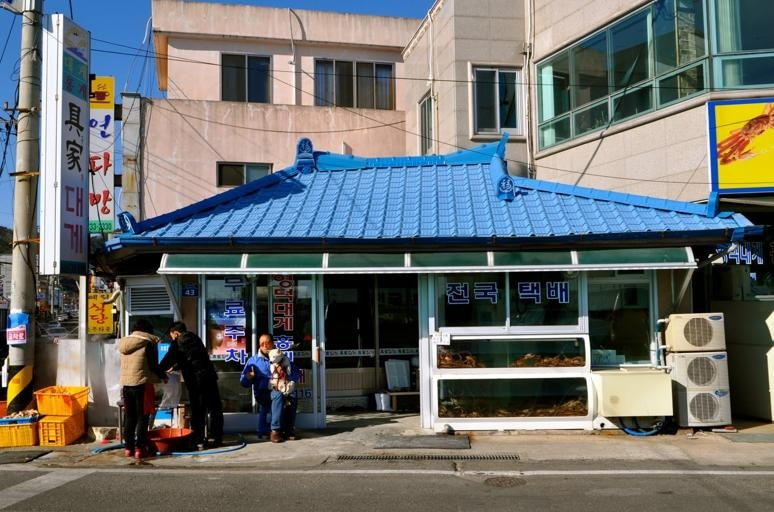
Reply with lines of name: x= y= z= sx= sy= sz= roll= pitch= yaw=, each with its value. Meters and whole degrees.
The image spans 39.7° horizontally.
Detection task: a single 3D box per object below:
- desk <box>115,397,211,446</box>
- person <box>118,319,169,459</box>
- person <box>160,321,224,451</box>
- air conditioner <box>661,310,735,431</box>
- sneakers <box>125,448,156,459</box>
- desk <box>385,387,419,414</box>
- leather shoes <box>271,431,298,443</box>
desk: x=-5.293 y=3.503 z=23.659 sx=1.210 sy=1.127 sz=0.951 roll=1 pitch=20 yaw=-19
person: x=-5.202 y=2.781 z=22.485 sx=0.861 sy=2.906 sz=0.429 roll=0 pitch=-5 yaw=-13
person: x=-4.133 y=2.726 z=22.905 sx=1.220 sy=2.680 sz=0.434 roll=0 pitch=-5 yaw=-11
air conditioner: x=6.797 y=2.484 z=23.521 sx=1.326 sy=2.472 sz=0.428 roll=-2 pitch=-5 yaw=15
sneakers: x=-5.188 y=4.076 z=22.406 sx=0.692 sy=0.289 sz=0.231 roll=0 pitch=-1 yaw=-16
desk: x=0.414 y=3.429 z=25.540 sx=0.794 sy=0.542 sz=0.506 roll=0 pitch=-5 yaw=-12
leather shoes: x=-2.195 y=3.882 z=23.264 sx=0.629 sy=0.261 sz=0.211 roll=0 pitch=-1 yaw=-17
